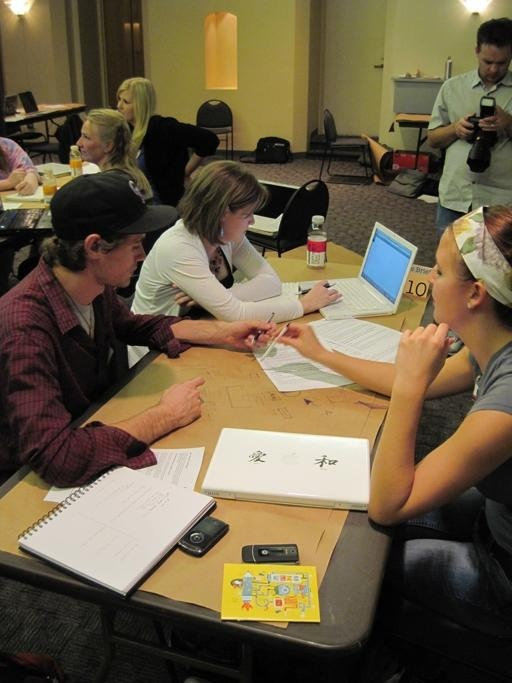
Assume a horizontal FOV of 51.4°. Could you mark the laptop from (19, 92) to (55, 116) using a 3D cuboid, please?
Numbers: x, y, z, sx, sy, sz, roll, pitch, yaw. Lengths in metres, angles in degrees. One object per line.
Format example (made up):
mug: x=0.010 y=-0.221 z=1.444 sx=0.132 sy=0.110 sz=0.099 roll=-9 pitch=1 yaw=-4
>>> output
laptop: x=-3.324 y=-3.538 z=7.903 sx=0.103 sy=0.352 sz=0.378 roll=-5 pitch=18 yaw=26

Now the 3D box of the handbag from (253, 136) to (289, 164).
handbag: x=0.282 y=-3.247 z=9.004 sx=0.504 sy=0.344 sz=0.186 roll=7 pitch=40 yaw=12

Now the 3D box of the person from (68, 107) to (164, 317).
person: x=-1.184 y=-0.869 z=4.238 sx=0.745 sy=1.756 sz=0.645 roll=-18 pitch=42 yaw=-37

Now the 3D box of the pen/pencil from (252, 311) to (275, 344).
pen/pencil: x=0.024 y=-0.048 z=1.907 sx=0.020 sy=0.145 sz=0.020 roll=30 pitch=22 yaw=-17

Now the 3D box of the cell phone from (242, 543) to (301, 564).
cell phone: x=0.024 y=0.376 z=0.937 sx=0.072 sy=0.014 sz=0.038 roll=1 pitch=19 yaw=7

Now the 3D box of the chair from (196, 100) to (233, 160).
chair: x=-0.754 y=-3.757 z=9.391 sx=0.667 sy=1.170 sz=0.662 roll=-2 pitch=43 yaw=-7

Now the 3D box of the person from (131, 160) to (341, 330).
person: x=-0.122 y=-0.394 z=2.181 sx=0.849 sy=0.607 sz=0.491 roll=19 pitch=30 yaw=30

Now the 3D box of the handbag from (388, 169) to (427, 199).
handbag: x=2.094 y=-2.219 z=7.450 sx=0.469 sy=0.333 sz=0.594 roll=9 pitch=25 yaw=24

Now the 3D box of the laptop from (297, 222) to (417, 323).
laptop: x=0.421 y=-0.304 z=2.225 sx=0.371 sy=0.274 sz=0.409 roll=-5 pitch=27 yaw=-4

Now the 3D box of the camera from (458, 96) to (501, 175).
camera: x=1.364 y=-1.232 z=3.218 sx=0.172 sy=0.499 sz=0.233 roll=6 pitch=-17 yaw=22

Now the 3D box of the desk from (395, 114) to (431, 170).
desk: x=2.262 y=-2.950 z=7.800 sx=0.437 sy=0.756 sz=0.954 roll=4 pitch=24 yaw=13

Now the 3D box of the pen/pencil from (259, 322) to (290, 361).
pen/pencil: x=0.061 y=0.004 z=1.837 sx=0.023 sy=0.154 sz=0.023 roll=39 pitch=-5 yaw=10

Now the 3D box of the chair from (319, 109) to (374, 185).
chair: x=1.370 y=-3.027 z=8.117 sx=0.631 sy=0.979 sz=0.624 roll=-1 pitch=23 yaw=10

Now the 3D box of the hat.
hat: x=-0.406 y=-0.388 z=1.486 sx=0.367 sy=0.176 sz=0.226 roll=-12 pitch=23 yaw=-3

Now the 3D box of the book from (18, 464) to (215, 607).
book: x=-0.264 y=0.345 z=1.017 sx=0.271 sy=0.037 sz=0.285 roll=10 pitch=25 yaw=26
